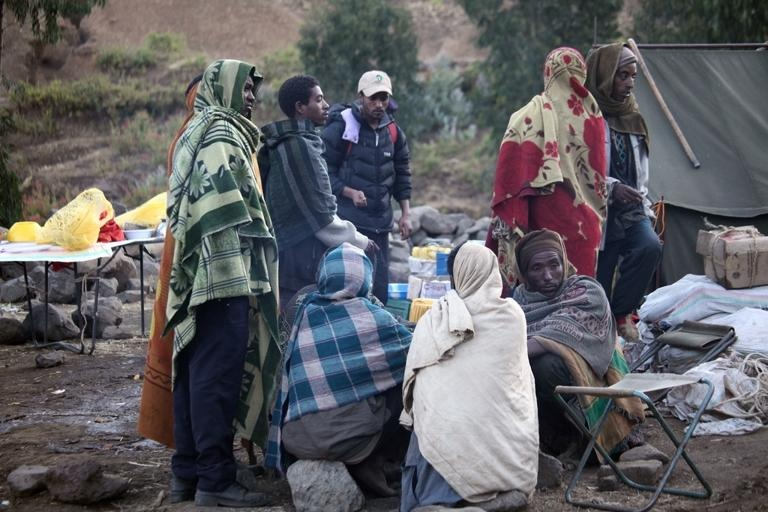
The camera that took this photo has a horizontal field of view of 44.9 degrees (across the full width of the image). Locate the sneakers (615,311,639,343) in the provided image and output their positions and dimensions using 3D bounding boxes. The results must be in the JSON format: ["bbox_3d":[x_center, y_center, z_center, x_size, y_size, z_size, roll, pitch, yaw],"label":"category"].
[{"bbox_3d":[2.347,0.712,8.937,0.214,0.306,0.129,-26,2,9],"label":"sneakers"}]

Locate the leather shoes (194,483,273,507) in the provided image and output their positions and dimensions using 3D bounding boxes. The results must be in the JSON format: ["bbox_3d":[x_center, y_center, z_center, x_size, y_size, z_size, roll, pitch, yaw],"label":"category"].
[{"bbox_3d":[-1.185,1.870,7.342,0.571,0.240,0.218,0,-4,-6],"label":"leather shoes"}]

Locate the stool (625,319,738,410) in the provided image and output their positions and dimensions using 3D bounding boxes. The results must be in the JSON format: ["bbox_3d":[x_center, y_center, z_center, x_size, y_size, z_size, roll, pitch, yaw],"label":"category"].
[{"bbox_3d":[2.861,0.974,8.515,0.748,0.284,0.727,-27,11,-35],"label":"stool"}]

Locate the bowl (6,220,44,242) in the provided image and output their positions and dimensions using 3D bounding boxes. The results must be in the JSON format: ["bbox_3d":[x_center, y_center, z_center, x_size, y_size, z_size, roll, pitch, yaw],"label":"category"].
[{"bbox_3d":[-3.705,-0.228,9.641,0.290,0.271,0.288,1,2,0],"label":"bowl"}]

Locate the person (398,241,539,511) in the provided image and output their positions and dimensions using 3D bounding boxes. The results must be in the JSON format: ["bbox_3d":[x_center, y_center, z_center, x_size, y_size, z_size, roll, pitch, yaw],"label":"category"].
[{"bbox_3d":[0.630,0.920,7.163,1.071,2.033,0.339,-4,-3,0],"label":"person"}]

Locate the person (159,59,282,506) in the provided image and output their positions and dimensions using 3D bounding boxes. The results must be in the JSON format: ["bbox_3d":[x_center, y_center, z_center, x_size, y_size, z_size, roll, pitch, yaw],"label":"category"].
[{"bbox_3d":[-1.300,0.215,7.452,0.920,3.568,0.498,-3,-3,-11],"label":"person"}]
